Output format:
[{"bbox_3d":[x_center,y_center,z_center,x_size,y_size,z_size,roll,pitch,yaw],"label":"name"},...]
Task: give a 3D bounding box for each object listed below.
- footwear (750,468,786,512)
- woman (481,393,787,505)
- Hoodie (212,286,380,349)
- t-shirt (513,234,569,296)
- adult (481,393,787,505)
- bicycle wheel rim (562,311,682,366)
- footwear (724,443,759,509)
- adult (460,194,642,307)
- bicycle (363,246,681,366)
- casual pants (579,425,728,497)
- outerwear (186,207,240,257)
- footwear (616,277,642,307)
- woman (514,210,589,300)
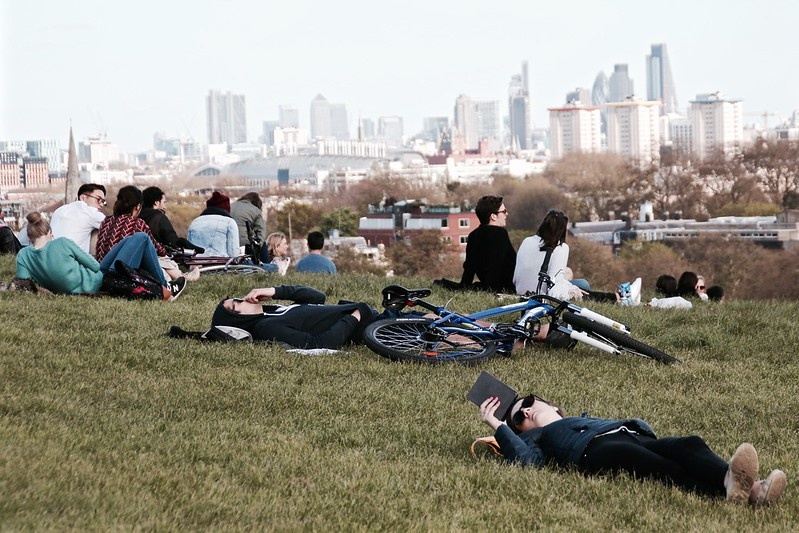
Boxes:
[{"bbox_3d":[3.533,2.271,12.867,0.514,0.219,0.188,40,14,-40],"label":"footwear"},{"bbox_3d":[2.410,1.543,13.180,2.362,0.569,1.271,9,7,27],"label":"woman"},{"bbox_3d":[-1.246,0.631,15.933,1.395,0.507,1.019,-3,12,-6],"label":"Hoodie"},{"bbox_3d":[1.903,0.002,17.443,0.798,0.731,0.463,9,12,42],"label":"t-shirt"},{"bbox_3d":[2.341,1.920,13.200,2.362,0.569,1.271,9,7,27],"label":"adult"},{"bbox_3d":[2.726,0.934,16.146,0.961,0.178,0.356,22,6,10],"label":"bicycle wheel rim"},{"bbox_3d":[3.325,2.064,12.833,0.261,0.651,0.278,8,12,-4],"label":"footwear"},{"bbox_3d":[2.232,-0.150,18.855,2.579,1.404,1.357,6,4,-19],"label":"adult"},{"bbox_3d":[1.419,0.677,16.081,3.550,1.335,1.628,3,11,1],"label":"bicycle"},{"bbox_3d":[2.551,1.975,13.110,1.358,0.426,0.567,12,28,26],"label":"casual pants"},{"bbox_3d":[-3.021,-0.499,21.118,0.937,0.826,0.504,1,-3,15],"label":"outerwear"},{"bbox_3d":[3.325,0.387,18.928,0.360,0.386,0.147,4,1,-4],"label":"footwear"},{"bbox_3d":[2.079,-0.201,17.865,0.943,1.220,1.191,3,14,-25],"label":"woman"}]
